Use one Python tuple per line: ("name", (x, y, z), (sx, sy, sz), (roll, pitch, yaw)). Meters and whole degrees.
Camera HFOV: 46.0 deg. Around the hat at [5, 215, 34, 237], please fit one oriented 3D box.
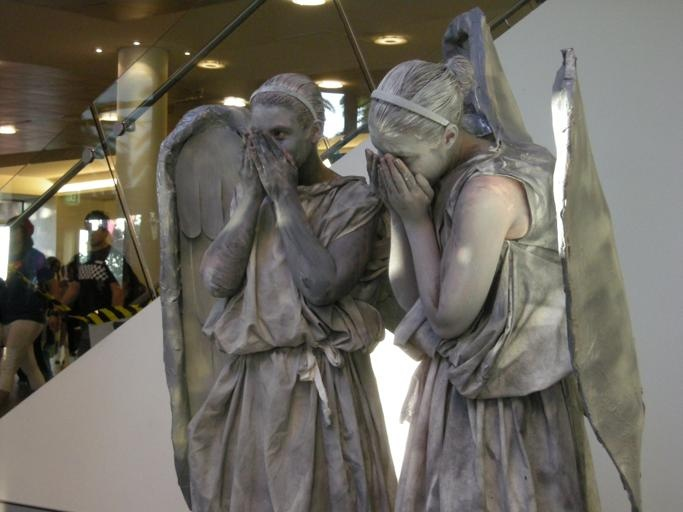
("hat", (-1.983, -0.186, 4.961), (0.130, 0.149, 0.110), (-16, -8, 3))
